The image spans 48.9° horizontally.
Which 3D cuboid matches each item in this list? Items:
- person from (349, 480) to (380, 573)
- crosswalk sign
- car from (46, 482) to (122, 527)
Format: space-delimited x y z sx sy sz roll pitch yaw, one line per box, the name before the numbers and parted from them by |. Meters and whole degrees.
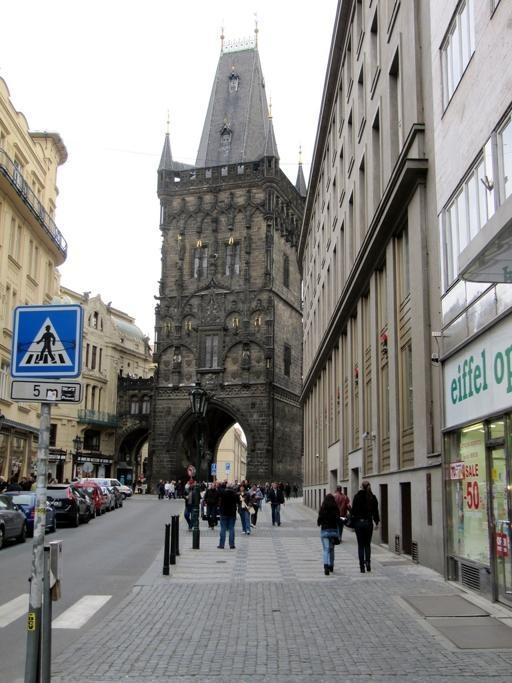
person | 2.315 3.829 11.844 0.489 1.782 0.713 -1 -5 17
crosswalk sign | -1.206 0.003 3.238 0.319 0.370 0.084 -6 -11 11
car | -8.431 7.749 26.425 2.061 1.860 4.983 -2 -6 6
